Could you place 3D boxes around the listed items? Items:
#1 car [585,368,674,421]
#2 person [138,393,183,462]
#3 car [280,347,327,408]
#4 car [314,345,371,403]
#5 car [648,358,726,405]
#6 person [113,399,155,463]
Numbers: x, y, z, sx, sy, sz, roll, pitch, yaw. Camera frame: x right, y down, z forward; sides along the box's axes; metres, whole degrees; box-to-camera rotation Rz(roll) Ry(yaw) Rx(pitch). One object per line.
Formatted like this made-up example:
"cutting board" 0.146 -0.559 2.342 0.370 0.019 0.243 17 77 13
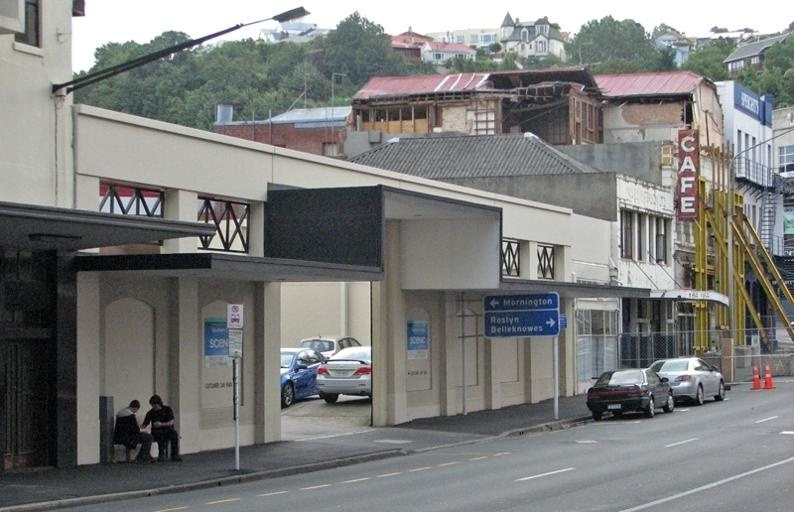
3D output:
"car" 8.846 5.207 52.183 3.178 1.922 1.725 2 -8 -34
"person" -7.368 5.355 42.908 1.045 2.051 1.141 -1 -2 24
"car" -3.792 4.619 53.181 1.454 2.279 2.706 1 3 5
"car" -1.858 4.932 54.648 2.377 1.870 4.427 -1 -7 7
"car" 11.855 5.141 57.179 2.240 1.731 5.278 -2 -2 28
"person" -8.119 5.388 42.224 1.132 1.850 0.731 -2 -6 0
